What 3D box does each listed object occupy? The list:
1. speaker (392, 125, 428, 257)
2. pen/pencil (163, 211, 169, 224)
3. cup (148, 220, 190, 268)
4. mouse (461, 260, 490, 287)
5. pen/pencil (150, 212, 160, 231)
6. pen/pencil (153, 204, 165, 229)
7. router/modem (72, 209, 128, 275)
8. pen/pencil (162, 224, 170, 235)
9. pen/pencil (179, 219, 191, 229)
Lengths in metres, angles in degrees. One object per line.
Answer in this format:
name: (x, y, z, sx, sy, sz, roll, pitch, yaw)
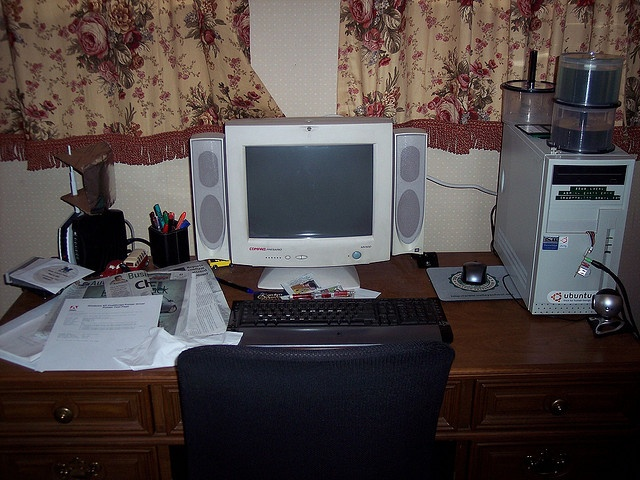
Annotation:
speaker: (0.293, -0.155, 1.636, 0.111, 0.418, 0.054, -1, 14, 8)
pen/pencil: (-0.518, -0.077, 1.671, 0.010, 0.045, 0.012, -8, 9, 6)
cup: (-0.508, 0.019, 1.688, 0.162, 0.119, 0.102, 5, 20, 18)
mouse: (0.504, 0.109, 1.614, 0.072, 0.063, 0.072, 0, 5, 2)
pen/pencil: (-0.559, -0.064, 1.686, 0.017, 0.063, 0.018, -20, -9, -8)
pen/pencil: (-0.537, -0.084, 1.694, 0.025, 0.108, 0.029, -8, 14, 2)
router/modem: (-0.738, 0.007, 1.648, 0.031, 0.176, 0.178, 15, 27, 32)
pen/pencil: (-0.517, -0.037, 1.669, 0.016, 0.015, 0.036, 25, 46, -22)
pen/pencil: (-0.472, -0.056, 1.729, 0.021, 0.012, 0.033, 4, -19, -31)
